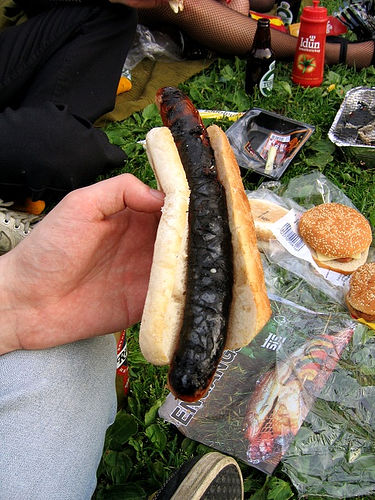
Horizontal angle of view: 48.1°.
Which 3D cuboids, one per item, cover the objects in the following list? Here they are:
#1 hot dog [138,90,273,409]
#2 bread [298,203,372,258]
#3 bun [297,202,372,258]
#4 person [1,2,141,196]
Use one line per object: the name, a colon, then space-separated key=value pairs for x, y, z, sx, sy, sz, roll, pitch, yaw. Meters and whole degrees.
hot dog: x=-0.007 y=-0.001 z=1.286 sx=0.381 sy=0.275 sz=0.896 roll=-8 pitch=82 yaw=-20
bread: x=0.762 y=-0.096 z=2.145 sx=0.323 sy=0.167 sz=0.314 roll=-23 pitch=51 yaw=-10
bun: x=0.781 y=-0.160 z=2.201 sx=0.357 sy=0.247 sz=0.385 roll=-22 pitch=28 yaw=-39
person: x=-0.743 y=-0.859 z=2.544 sx=0.710 sy=0.806 sz=1.154 roll=3 pitch=51 yaw=12
